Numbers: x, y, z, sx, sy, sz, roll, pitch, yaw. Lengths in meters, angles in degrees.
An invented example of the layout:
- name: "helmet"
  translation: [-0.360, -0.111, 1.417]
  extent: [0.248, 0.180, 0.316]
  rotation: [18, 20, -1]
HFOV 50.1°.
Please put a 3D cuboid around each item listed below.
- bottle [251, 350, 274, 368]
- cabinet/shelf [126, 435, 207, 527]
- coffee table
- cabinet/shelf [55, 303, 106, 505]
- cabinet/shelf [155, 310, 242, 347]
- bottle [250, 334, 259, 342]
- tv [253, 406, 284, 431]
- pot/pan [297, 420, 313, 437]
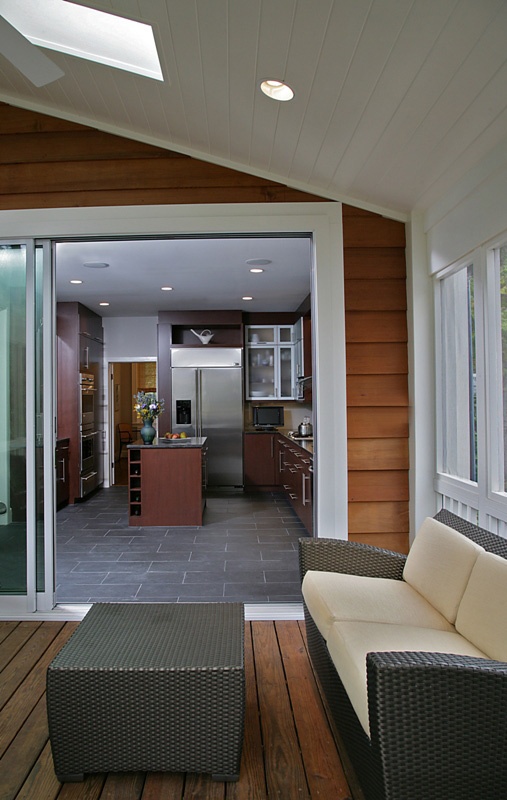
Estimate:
- name: "bottle"
  translation: [0.118, -0.574, 7.450]
  extent: [0.324, 0.238, 0.038]
  rotation: [-1, -1, 4]
- name: "cabinet/shelf"
  translation: [-0.839, 0.808, 5.162]
  extent: [0.719, 0.757, 0.261]
  rotation: [0, -1, 2]
- name: "coffee table"
  translation: [-0.319, 0.884, 1.718]
  extent: [0.376, 0.285, 0.536]
  rotation: [0, 0, -2]
- name: "cabinet/shelf"
  translation: [-2.152, 0.020, 6.659]
  extent: [0.453, 2.381, 1.333]
  rotation: [0, -1, -12]
- name: "cabinet/shelf"
  translation: [-0.726, -0.945, 7.314]
  extent: [1.137, 0.513, 0.406]
  rotation: [0, -1, 3]
- name: "bottle"
  translation: [0.020, -0.845, 7.412]
  extent: [0.097, 0.103, 0.101]
  rotation: [3, 4, 14]
- name: "tv"
  translation: [0.203, 0.232, 7.405]
  extent: [0.441, 0.343, 0.272]
  rotation: [1, 1, 2]
- name: "pot/pan"
  translation: [0.585, 0.336, 6.036]
  extent: [0.183, 0.216, 0.192]
  rotation: [0, -3, -3]
